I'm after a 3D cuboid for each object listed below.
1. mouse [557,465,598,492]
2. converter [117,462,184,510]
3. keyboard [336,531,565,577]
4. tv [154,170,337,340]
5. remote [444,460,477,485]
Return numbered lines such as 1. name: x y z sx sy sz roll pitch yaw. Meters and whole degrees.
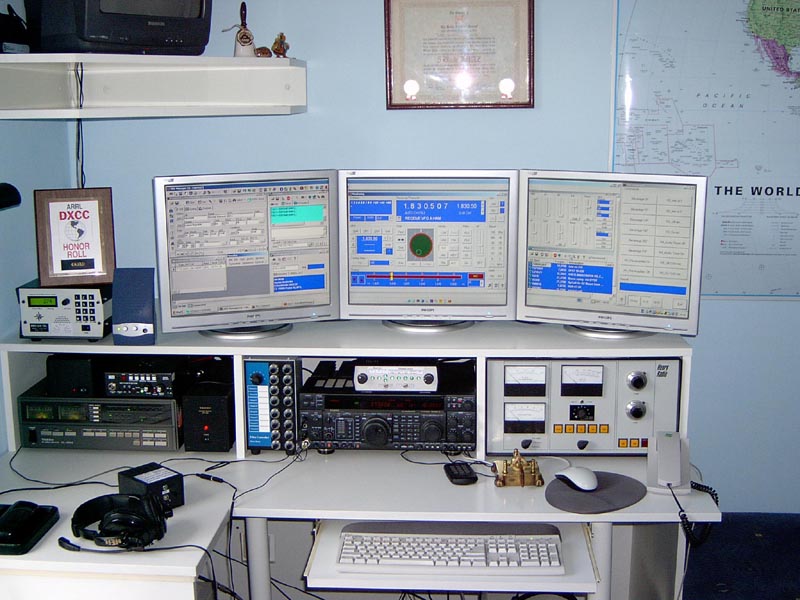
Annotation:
1. mouse: 0.608 0.611 2.510 0.142 0.071 0.113 1 8 14
2. converter: -0.792 0.585 2.448 0.215 0.127 0.265 -1 11 -13
3. keyboard: 0.150 0.842 2.407 0.741 0.081 0.227 -2 14 7
4. tv: -0.564 -0.186 2.730 0.661 0.576 0.024 -2 8 -10
5. remote: 0.216 0.614 2.605 0.115 0.045 0.127 0 8 2
